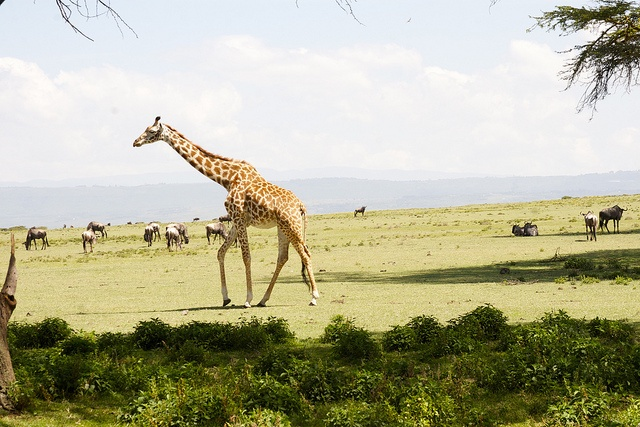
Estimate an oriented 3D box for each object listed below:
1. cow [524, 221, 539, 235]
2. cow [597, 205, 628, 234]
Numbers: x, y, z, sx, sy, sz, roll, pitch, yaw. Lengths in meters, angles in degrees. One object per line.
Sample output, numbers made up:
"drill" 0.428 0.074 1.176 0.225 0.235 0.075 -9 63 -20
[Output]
"cow" 16.392 1.206 60.818 1.023 1.002 1.246 -2 -2 -2
"cow" 22.260 0.391 59.895 1.504 2.110 5.138 -3 -2 20
